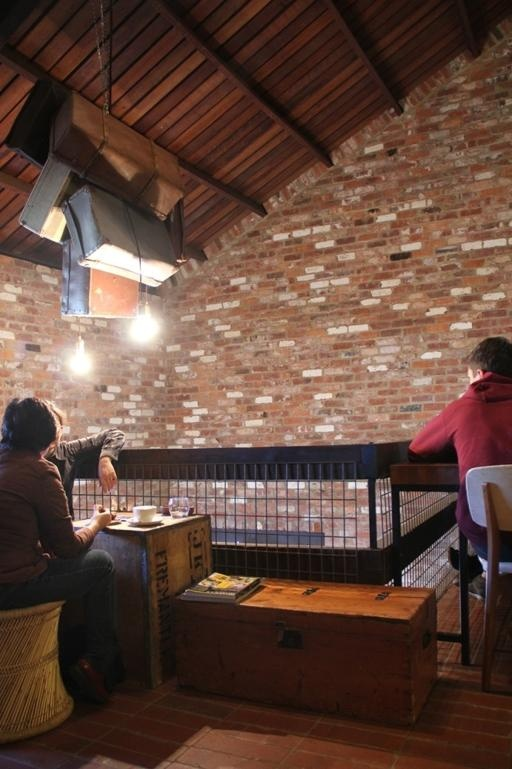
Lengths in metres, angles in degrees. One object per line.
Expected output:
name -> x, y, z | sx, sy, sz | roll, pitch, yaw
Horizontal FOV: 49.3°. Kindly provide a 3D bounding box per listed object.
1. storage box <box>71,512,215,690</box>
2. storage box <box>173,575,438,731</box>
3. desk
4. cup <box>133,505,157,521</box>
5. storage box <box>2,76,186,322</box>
storage box -> -0.418, 0.785, 2.257 | 0.311, 0.453, 0.430 | -5, -6, 28
storage box -> 0.159, 0.890, 1.927 | 0.831, 0.318, 0.381 | -6, -8, 28
desk -> 0.709, 0.734, 2.280 | 0.298, 0.735, 0.869 | -2, -5, 20
cup -> -0.443, 0.511, 2.208 | 0.073, 0.047, 0.075 | 1, -6, 0
storage box -> -0.878, -0.953, 3.078 | 0.652, 1.099, 0.921 | -5, -8, 21
